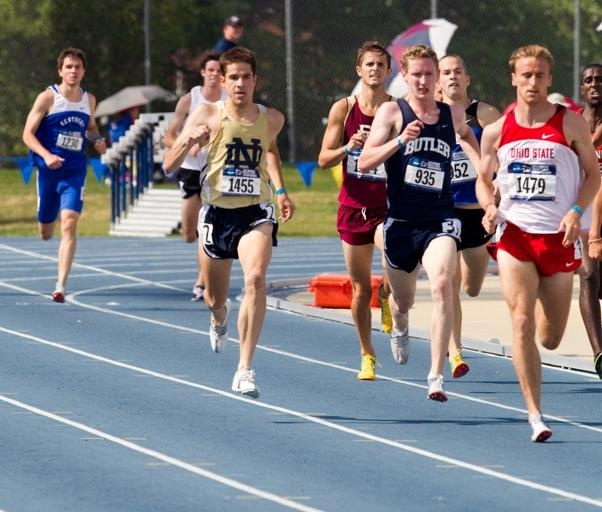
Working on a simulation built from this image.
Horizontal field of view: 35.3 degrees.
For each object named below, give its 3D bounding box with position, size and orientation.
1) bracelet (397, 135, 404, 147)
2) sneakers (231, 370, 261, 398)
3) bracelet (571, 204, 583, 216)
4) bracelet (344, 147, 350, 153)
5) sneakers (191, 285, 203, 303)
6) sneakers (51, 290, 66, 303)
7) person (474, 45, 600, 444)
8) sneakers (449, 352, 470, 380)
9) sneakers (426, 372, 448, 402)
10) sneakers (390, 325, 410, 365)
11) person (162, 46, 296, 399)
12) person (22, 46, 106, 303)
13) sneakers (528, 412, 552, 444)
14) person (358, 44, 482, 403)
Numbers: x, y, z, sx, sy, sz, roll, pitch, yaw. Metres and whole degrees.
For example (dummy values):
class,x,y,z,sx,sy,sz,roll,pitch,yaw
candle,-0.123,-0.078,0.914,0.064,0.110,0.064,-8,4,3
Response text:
class,x,y,z,sx,sy,sz,roll,pitch,yaw
bracelet,0.555,-0.638,5.259,0.012,0.045,0.046,-33,-8,-1
sneakers,-0.285,0.714,5.333,0.090,0.116,0.251,6,-1,-25
bracelet,1.421,-0.240,4.863,0.063,0.055,0.120,6,11,16
bracelet,0.295,-0.660,5.913,0.033,0.026,0.034,0,2,-21
sneakers,-1.018,0.368,9.539,0.079,0.101,0.238,14,19,-5
sneakers,-2.288,0.393,8.956,0.130,0.131,0.095,8,8,7
person,1.208,-0.062,4.962,0.622,2.045,0.629,6,9,14
sneakers,1.075,0.740,6.401,0.088,0.116,0.245,-27,-11,-10
sneakers,0.762,0.754,5.358,0.086,0.102,0.222,2,-9,-3
sneakers,0.664,0.589,6.269,0.092,0.285,0.120,-1,10,10
person,-0.419,-0.160,5.678,0.743,2.157,1.207,3,9,-1
person,-2.253,-0.755,9.041,0.700,2.424,0.963,2,9,-13
sneakers,1.212,0.888,4.823,0.098,0.171,0.126,3,9,-4
person,0.678,-0.149,5.654,0.684,2.166,1.065,5,9,10
